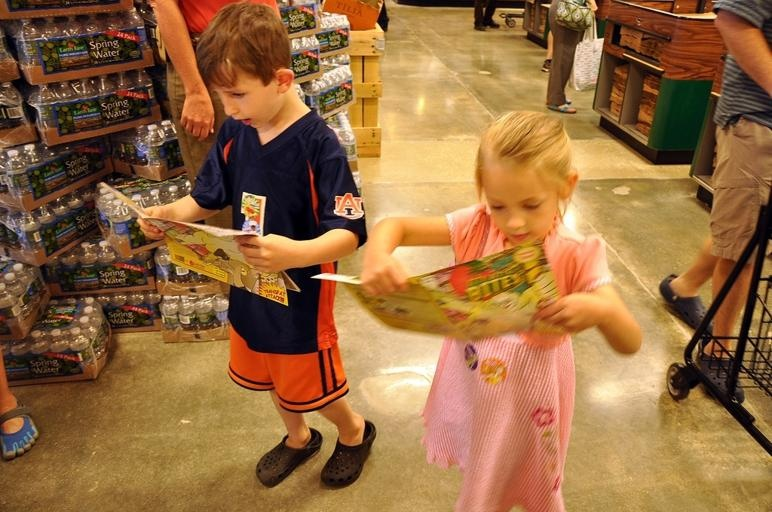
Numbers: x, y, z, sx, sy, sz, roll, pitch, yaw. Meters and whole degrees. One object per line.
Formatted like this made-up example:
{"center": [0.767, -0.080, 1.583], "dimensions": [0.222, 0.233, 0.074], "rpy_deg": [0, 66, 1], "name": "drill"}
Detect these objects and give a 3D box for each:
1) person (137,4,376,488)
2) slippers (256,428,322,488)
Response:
{"center": [-0.454, 0.131, 2.011], "dimensions": [0.767, 2.127, 0.626], "rpy_deg": [14, 31, 30], "name": "person"}
{"center": [-0.463, 0.999, 2.482], "dimensions": [0.332, 0.122, 0.170], "rpy_deg": [-34, 42, -13], "name": "slippers"}
